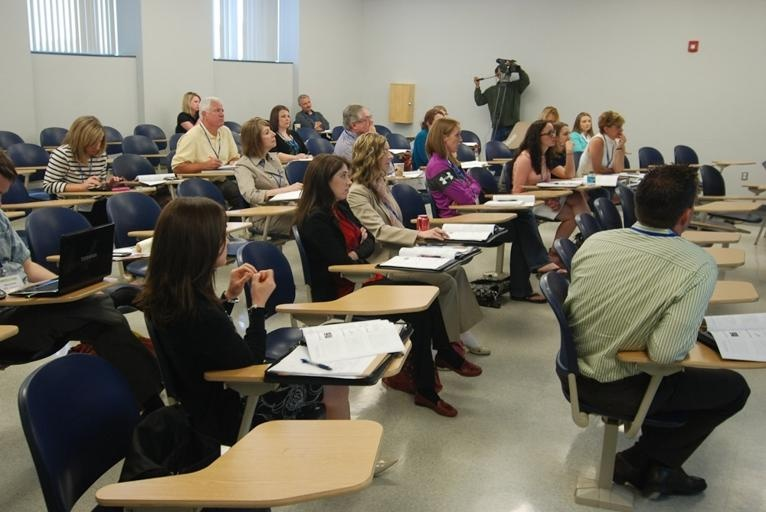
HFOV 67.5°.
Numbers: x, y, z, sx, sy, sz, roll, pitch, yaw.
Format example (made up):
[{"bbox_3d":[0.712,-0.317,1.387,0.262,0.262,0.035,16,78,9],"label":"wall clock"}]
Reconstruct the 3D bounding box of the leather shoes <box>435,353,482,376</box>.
[{"bbox_3d":[0.462,0.660,3.538,0.242,0.090,0.132,4,8,10],"label":"leather shoes"}]

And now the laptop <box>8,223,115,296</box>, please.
[{"bbox_3d":[-1.480,-0.016,2.727,0.310,0.320,0.476,8,12,23],"label":"laptop"}]

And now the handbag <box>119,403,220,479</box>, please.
[{"bbox_3d":[-0.743,0.641,2.035,0.187,0.202,0.289,-3,-9,41],"label":"handbag"}]

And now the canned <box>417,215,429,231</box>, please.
[{"bbox_3d":[0.268,-0.223,3.889,0.072,0.132,0.106,3,5,36],"label":"canned"}]

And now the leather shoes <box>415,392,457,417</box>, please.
[{"bbox_3d":[0.301,0.828,3.220,0.246,0.099,0.093,9,10,24],"label":"leather shoes"}]

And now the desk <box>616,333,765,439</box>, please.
[{"bbox_3d":[1.223,0.571,2.382,0.523,0.434,0.236,2,16,10],"label":"desk"}]

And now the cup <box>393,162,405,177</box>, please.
[{"bbox_3d":[0.158,-0.871,5.773,0.160,0.174,0.161,0,4,0],"label":"cup"}]

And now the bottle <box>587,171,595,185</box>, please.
[{"bbox_3d":[2.000,-0.742,5.487,0.093,0.105,0.094,-3,3,-17],"label":"bottle"}]

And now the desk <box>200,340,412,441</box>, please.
[{"bbox_3d":[-0.290,0.460,2.216,0.488,0.273,0.481,-1,10,3],"label":"desk"}]

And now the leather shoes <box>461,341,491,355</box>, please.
[{"bbox_3d":[0.603,0.608,3.774,0.261,0.116,0.089,-1,6,9],"label":"leather shoes"}]
